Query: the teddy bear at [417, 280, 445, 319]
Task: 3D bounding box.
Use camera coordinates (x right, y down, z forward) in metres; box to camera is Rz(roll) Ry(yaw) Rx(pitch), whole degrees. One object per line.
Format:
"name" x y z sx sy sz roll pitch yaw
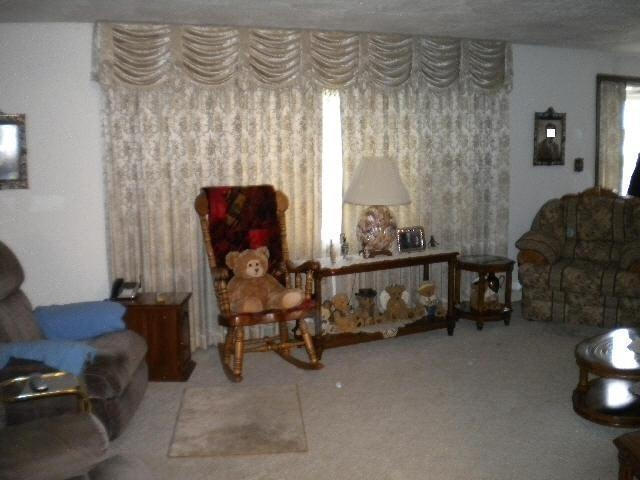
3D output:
"teddy bear" 1.015 0.551 5.089 0.250 0.358 0.237 -7 14 -7

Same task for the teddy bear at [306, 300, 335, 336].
"teddy bear" 0.030 0.625 4.812 0.167 0.229 0.205 -24 17 -18

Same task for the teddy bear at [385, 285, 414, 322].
"teddy bear" 0.696 0.577 5.019 0.234 0.329 0.203 -4 9 0

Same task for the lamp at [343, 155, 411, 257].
"lamp" 0.520 -0.294 4.860 0.565 0.898 0.575 -5 10 -31

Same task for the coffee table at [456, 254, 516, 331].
"coffee table" 1.625 0.459 5.283 0.637 0.661 0.639 -2 6 -22

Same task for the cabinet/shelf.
"cabinet/shelf" -1.341 0.678 4.428 0.568 0.692 0.699 -1 5 -7

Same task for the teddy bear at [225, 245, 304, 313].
"teddy bear" -0.463 0.338 4.241 0.567 0.506 0.476 -2 -2 -41

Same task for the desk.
"desk" 0.659 0.586 5.012 1.228 0.768 0.385 -10 -12 12

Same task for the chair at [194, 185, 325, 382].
"chair" -0.504 0.310 4.323 0.885 1.420 0.821 -9 10 -40

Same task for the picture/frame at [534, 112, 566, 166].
"picture/frame" 2.469 -1.105 5.872 0.540 0.838 0.037 -2 5 -26
